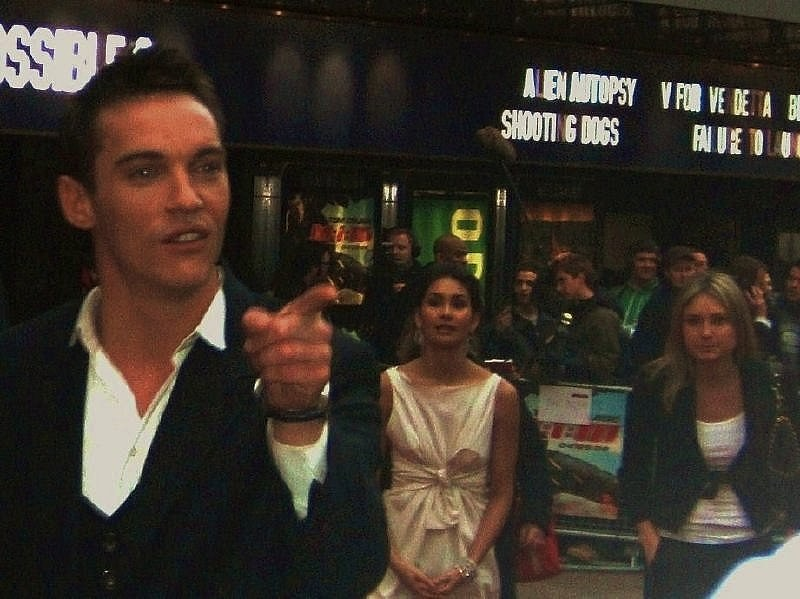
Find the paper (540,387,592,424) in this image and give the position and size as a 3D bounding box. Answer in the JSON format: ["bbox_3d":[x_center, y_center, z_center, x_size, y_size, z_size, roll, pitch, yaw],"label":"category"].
[{"bbox_3d":[0.567,0.365,3.154,0.135,0.094,0.014,2,1,-8],"label":"paper"}]

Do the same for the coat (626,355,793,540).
[{"bbox_3d":[1.117,0.532,3.356,0.699,0.653,0.372,1,-2,-9],"label":"coat"}]
